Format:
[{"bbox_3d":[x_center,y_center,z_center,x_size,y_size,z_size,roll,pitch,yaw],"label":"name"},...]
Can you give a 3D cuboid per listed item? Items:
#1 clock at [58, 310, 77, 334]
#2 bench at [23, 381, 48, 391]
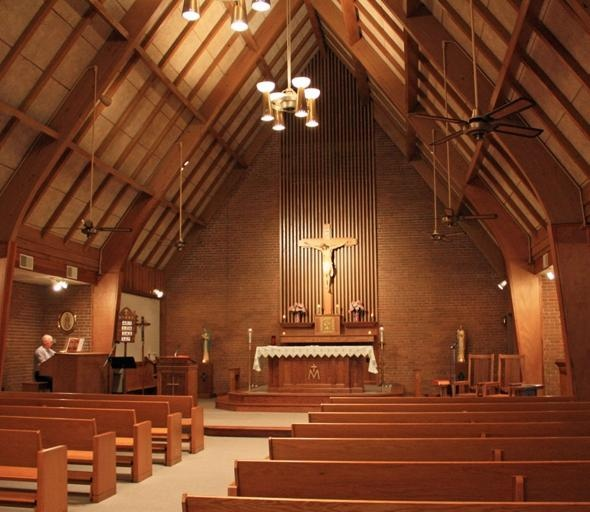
[{"bbox_3d":[-4.735,1.381,13.239,0.435,0.495,0.064,0,-5,34],"label":"clock"},{"bbox_3d":[-4.743,2.376,11.514,0.375,0.177,0.583,5,-18,-17],"label":"bench"}]
